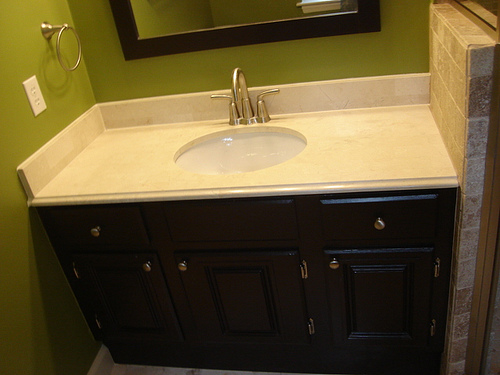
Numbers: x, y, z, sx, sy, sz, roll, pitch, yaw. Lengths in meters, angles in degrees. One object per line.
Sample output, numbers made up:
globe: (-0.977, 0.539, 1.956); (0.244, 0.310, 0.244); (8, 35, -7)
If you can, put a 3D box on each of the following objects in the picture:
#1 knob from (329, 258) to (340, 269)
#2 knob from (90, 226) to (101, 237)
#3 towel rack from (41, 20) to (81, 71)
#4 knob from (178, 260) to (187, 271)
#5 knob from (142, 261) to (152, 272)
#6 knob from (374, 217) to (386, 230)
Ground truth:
knob: (0.325, 0.284, 1.551); (0.027, 0.040, 0.011); (-4, -33, 2)
knob: (-0.603, 0.174, 1.646); (0.033, 0.037, 0.026); (1, 27, 17)
towel rack: (-0.855, -0.612, 1.893); (0.125, 0.227, 0.152); (-3, 9, 34)
knob: (-0.262, 0.310, 1.644); (0.026, 0.038, 0.017); (-4, -13, 10)
knob: (-0.407, 0.317, 1.672); (0.027, 0.039, 0.018); (5, -10, -14)
knob: (0.454, 0.127, 1.459); (0.028, 0.044, 0.018); (-11, -10, 27)
